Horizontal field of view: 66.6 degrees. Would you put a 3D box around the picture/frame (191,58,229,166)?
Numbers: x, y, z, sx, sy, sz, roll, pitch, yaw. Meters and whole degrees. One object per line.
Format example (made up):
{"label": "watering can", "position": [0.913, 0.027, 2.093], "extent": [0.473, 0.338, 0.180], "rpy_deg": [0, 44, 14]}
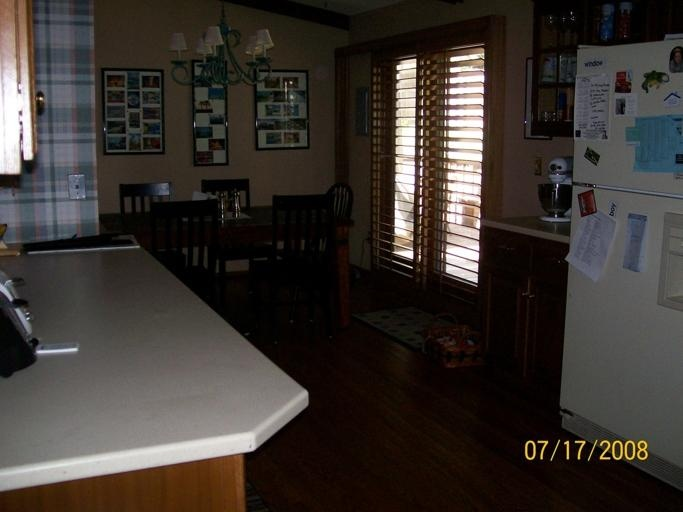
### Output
{"label": "picture/frame", "position": [-1.446, -1.588, 5.726], "extent": [0.381, 1.153, 0.040], "rpy_deg": [-2, 30, -18]}

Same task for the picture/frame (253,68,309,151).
{"label": "picture/frame", "position": [-0.724, -1.747, 6.015], "extent": [0.842, 1.140, 0.037], "rpy_deg": [-3, 5, -31]}

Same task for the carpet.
{"label": "carpet", "position": [0.605, 0.583, 4.627], "extent": [0.726, 0.035, 0.946], "rpy_deg": [-9, 16, -33]}

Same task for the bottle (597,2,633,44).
{"label": "bottle", "position": [1.570, -1.346, 2.967], "extent": [0.052, 0.222, 0.221], "rpy_deg": [-7, 14, -29]}

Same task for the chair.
{"label": "chair", "position": [-0.628, 0.018, 4.425], "extent": [1.848, 1.196, 1.230], "rpy_deg": [-5, 13, -20]}
